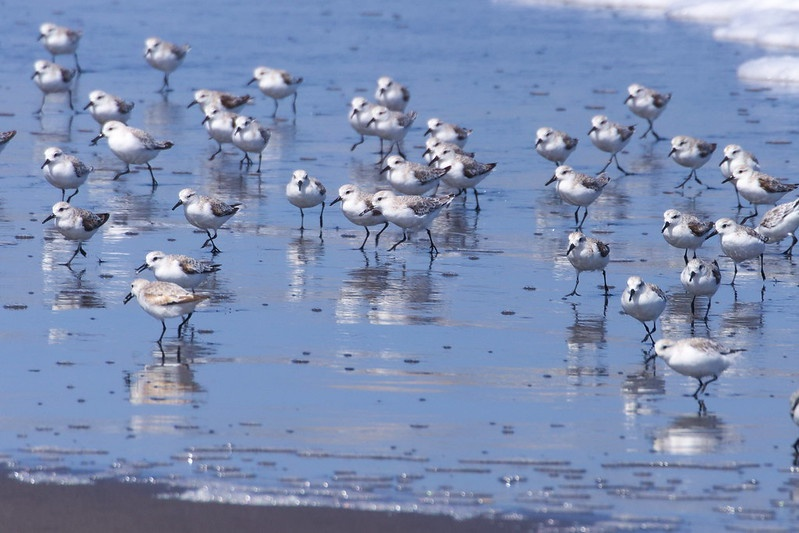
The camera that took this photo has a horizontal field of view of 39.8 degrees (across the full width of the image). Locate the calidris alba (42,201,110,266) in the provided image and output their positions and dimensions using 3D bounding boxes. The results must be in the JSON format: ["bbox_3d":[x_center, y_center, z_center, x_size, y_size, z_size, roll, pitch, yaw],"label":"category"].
[{"bbox_3d":[-5.094,-0.571,17.399,0.723,1.279,0.909,12,104,28],"label":"calidris alba"}]
